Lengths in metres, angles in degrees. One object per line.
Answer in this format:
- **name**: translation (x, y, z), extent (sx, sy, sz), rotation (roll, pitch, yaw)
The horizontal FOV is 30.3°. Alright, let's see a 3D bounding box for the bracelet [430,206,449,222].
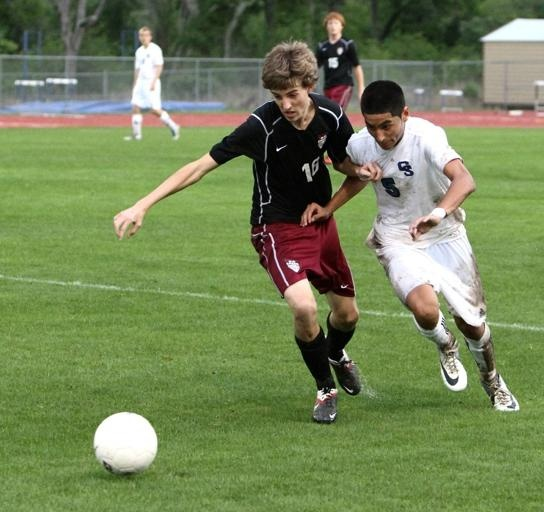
- **bracelet**: translation (0.800, -0.192, 4.886), extent (0.072, 0.076, 0.125), rotation (7, 15, 22)

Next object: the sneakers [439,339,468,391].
- **sneakers**: translation (0.944, 0.619, 5.392), extent (0.108, 0.314, 0.128), rotation (-17, -30, 16)

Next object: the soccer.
- **soccer**: translation (-0.641, 0.852, 4.452), extent (0.262, 0.195, 0.259), rotation (1, -8, -1)

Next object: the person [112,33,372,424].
- **person**: translation (0.021, -0.156, 5.354), extent (1.066, 1.957, 0.732), rotation (3, 14, 8)

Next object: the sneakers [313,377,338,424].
- **sneakers**: translation (0.274, 0.782, 5.184), extent (0.080, 0.091, 0.223), rotation (0, 16, 7)

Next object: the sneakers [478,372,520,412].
- **sneakers**: translation (1.176, 0.738, 5.336), extent (0.118, 0.100, 0.293), rotation (31, 25, -45)

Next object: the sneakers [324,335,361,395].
- **sneakers**: translation (0.403, 0.641, 5.632), extent (0.120, 0.103, 0.279), rotation (39, 19, -49)
